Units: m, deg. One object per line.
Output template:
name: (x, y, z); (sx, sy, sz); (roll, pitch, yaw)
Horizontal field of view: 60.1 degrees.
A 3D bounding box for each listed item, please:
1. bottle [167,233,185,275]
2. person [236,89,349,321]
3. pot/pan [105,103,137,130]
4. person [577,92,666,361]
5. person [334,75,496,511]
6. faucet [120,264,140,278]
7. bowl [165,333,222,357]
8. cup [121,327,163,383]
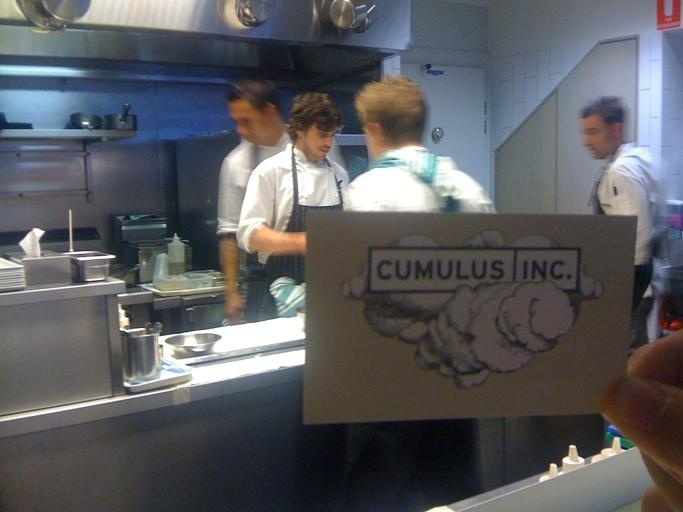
bottle: (-0.821, -0.005, 2.972); (0.082, 0.191, 0.160); (-4, 5, -15)
person: (-0.142, -0.183, 2.373); (0.374, 0.877, 0.541); (0, 6, 35)
pot/pan: (-1.109, -0.707, 3.009); (0.111, 0.134, 0.190); (-2, 8, -28)
person: (1.384, -0.288, 2.801); (0.304, 0.965, 0.537); (-3, 5, -2)
person: (0.205, 0.167, 1.565); (0.440, 1.338, 0.564); (-3, 5, -1)
faucet: (-1.023, 0.076, 2.908); (0.076, 0.057, 0.076); (-15, 29, -39)
bowl: (-0.462, 0.281, 1.881); (0.172, 0.056, 0.140); (-5, 6, -16)
cup: (-0.546, 0.279, 1.719); (0.097, 0.150, 0.154); (-2, -4, -12)
